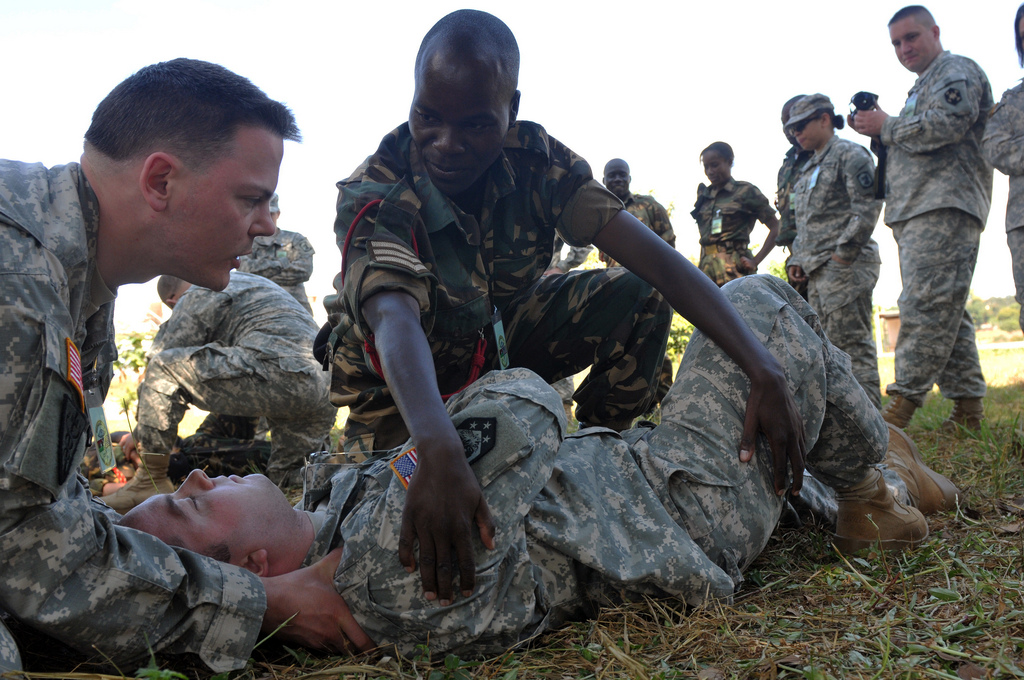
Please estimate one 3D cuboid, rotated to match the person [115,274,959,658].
[{"bbox_3d":[0.181,0.572,3.023,2.894,1.020,1.228,-5,-11,-12],"label":"person"}]
